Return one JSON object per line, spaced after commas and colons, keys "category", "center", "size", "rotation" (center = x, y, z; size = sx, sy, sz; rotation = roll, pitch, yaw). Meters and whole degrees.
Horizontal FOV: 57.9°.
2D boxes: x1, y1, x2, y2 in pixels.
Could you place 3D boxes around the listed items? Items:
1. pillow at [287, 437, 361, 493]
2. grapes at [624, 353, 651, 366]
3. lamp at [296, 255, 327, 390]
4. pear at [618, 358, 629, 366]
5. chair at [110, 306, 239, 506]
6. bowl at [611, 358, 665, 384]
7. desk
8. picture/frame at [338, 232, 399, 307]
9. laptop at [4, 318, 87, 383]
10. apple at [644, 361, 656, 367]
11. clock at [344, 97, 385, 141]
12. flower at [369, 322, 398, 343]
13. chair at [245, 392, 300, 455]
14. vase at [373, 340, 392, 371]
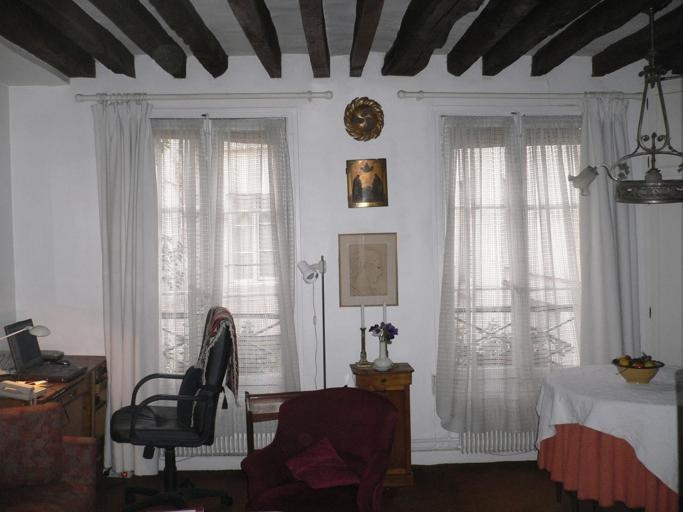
{"category": "pillow", "center": [-0.146, 1.558, 4.635], "size": [0.523, 0.283, 0.281], "rotation": [0, 2, -7]}
{"category": "grapes", "center": [2.391, 0.837, 4.989], "size": [0.144, 0.102, 0.157], "rotation": [-1, -7, 10]}
{"category": "lamp", "center": [-0.265, 0.610, 5.660], "size": [0.244, 1.237, 0.351], "rotation": [0, 2, 1]}
{"category": "pear", "center": [2.281, 0.843, 4.939], "size": [0.063, 0.074, 0.061], "rotation": [14, -10, -30]}
{"category": "chair", "center": [-1.385, 1.260, 5.162], "size": [0.993, 1.663, 0.755], "rotation": [0, 2, -3]}
{"category": "bowl", "center": [2.398, 0.923, 4.926], "size": [0.232, 0.091, 0.233], "rotation": [-5, -1, 0]}
{"category": "desk", "center": [-2.292, 1.261, 4.814], "size": [0.420, 0.783, 1.204], "rotation": [0, 1, -1]}
{"category": "picture/frame", "center": [0.236, 0.107, 5.805], "size": [0.684, 0.834, 0.034], "rotation": [-1, 4, 0]}
{"category": "laptop", "center": [-2.552, 0.794, 5.306], "size": [0.557, 0.416, 0.556], "rotation": [4, -1, -14]}
{"category": "apple", "center": [2.469, 0.852, 4.920], "size": [0.064, 0.022, 0.064], "rotation": [-1, 1, -10]}
{"category": "clock", "center": [0.212, -1.266, 5.704], "size": [0.375, 0.122, 0.399], "rotation": [2, -35, -9]}
{"category": "flower", "center": [0.374, 0.676, 5.521], "size": [0.204, 0.208, 0.082], "rotation": [-7, -35, 13]}
{"category": "chair", "center": [-0.568, 1.501, 5.708], "size": [0.662, 0.535, 0.467], "rotation": [3, -6, -25]}
{"category": "vase", "center": [0.378, 0.872, 5.546], "size": [0.165, 0.251, 0.240], "rotation": [0, 2, 12]}
